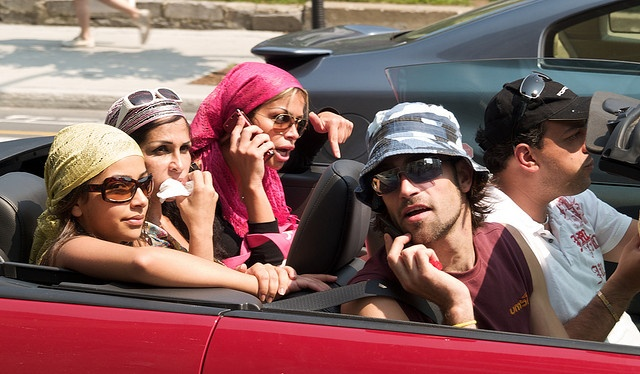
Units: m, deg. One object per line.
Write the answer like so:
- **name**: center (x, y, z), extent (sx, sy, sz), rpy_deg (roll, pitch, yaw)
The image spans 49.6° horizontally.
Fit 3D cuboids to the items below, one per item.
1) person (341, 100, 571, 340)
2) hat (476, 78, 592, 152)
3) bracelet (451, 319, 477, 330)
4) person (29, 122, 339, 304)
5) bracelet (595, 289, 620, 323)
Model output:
- **person**: center (0.832, 0.230, 4.131), extent (0.930, 1.329, 0.863), rpy_deg (-40, -23, 31)
- **hat**: center (1.442, -0.507, 4.583), extent (0.741, 0.321, 0.456), rpy_deg (-5, -4, 19)
- **bracelet**: center (0.810, 0.757, 3.820), extent (0.094, 0.031, 0.083), rpy_deg (-8, 0, -3)
- **person**: center (-0.762, 0.113, 4.279), extent (1.958, 0.815, 1.214), rpy_deg (5, 14, 3)
- **bracelet**: center (1.703, 0.704, 4.121), extent (0.042, 0.157, 0.144), rpy_deg (-43, 3, 14)
